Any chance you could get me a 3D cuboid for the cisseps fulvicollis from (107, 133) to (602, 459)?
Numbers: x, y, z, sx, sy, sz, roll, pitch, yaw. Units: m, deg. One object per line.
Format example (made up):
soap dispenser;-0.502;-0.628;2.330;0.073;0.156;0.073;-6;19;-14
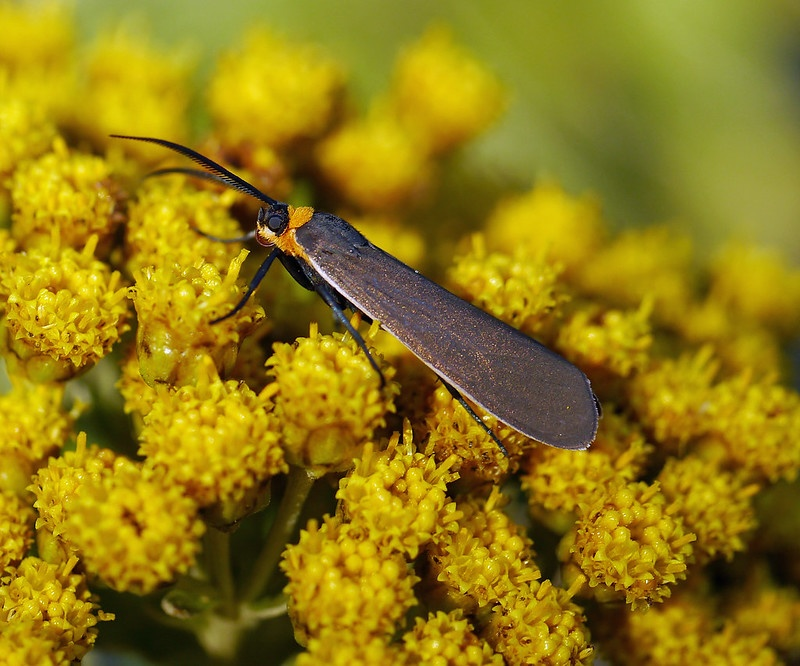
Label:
cisseps fulvicollis;-0.179;-0.082;3.489;1.785;0.560;0.907;24;13;3
